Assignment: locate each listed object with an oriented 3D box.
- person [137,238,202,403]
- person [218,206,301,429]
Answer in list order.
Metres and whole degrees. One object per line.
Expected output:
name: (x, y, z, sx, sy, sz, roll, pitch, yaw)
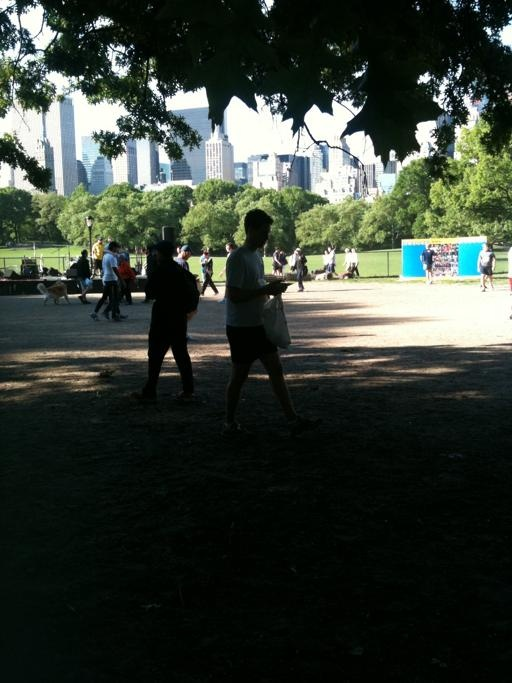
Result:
person: (-0.908, -0.236, 8.600, 0.576, 1.645, 0.471, -1, 15, -11)
person: (0.025, -0.123, 6.384, 0.573, 1.720, 0.693, 0, 5, 2)
